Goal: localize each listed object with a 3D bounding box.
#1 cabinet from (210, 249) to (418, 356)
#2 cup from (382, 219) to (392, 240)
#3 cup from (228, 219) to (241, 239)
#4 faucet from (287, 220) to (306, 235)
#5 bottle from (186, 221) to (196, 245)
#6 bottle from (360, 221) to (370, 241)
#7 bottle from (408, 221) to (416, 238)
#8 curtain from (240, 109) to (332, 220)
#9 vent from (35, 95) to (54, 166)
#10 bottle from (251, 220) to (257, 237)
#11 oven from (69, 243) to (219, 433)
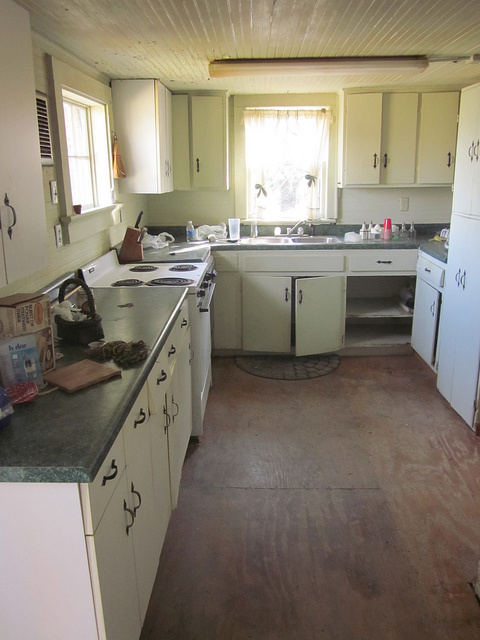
[{"bbox_3d":[0.674,-0.151,4.137,1.665,1.134,0.930,-1,0,11],"label":"cabinet"},{"bbox_3d":[1.383,-0.852,4.137,0.084,0.179,0.242,3,13,18],"label":"cup"},{"bbox_3d":[-0.052,-0.887,4.255,0.107,0.168,0.308,-1,13,-2],"label":"cup"},{"bbox_3d":[0.533,-0.909,4.323,0.174,0.135,0.274,6,14,26],"label":"faucet"},{"bbox_3d":[-0.460,-0.817,4.112,0.089,0.197,0.393,-2,13,-7],"label":"bottle"},{"bbox_3d":[1.151,-0.813,4.076,0.082,0.146,0.239,3,13,17],"label":"bottle"},{"bbox_3d":[1.658,-0.870,4.254,0.074,0.153,0.329,4,14,21],"label":"bottle"},{"bbox_3d":[0.459,-1.547,4.480,0.917,1.337,0.166,2,55,8],"label":"curtain"},{"bbox_3d":[-0.959,-0.926,2.170,0.032,0.362,0.253,-11,23,-33],"label":"vent"},{"bbox_3d":[0.135,-0.899,4.337,0.057,0.161,0.189,0,12,3],"label":"bottle"},{"bbox_3d":[-0.426,0.015,2.908,0.487,0.829,0.989,-4,17,-3],"label":"oven"}]
